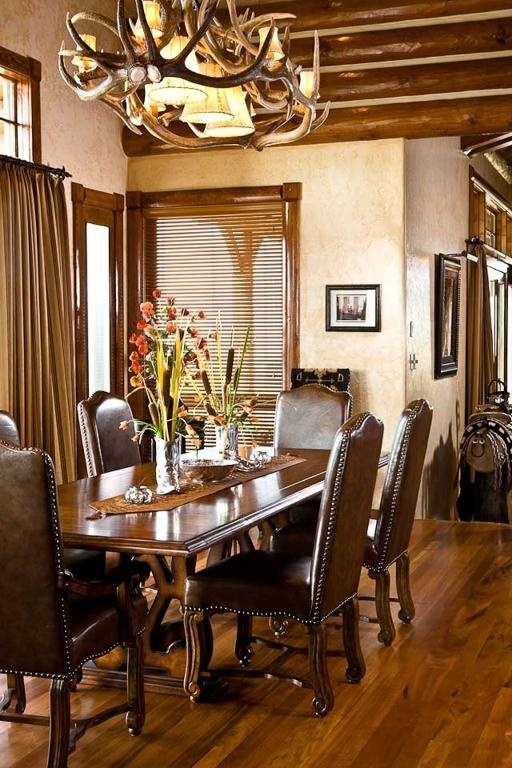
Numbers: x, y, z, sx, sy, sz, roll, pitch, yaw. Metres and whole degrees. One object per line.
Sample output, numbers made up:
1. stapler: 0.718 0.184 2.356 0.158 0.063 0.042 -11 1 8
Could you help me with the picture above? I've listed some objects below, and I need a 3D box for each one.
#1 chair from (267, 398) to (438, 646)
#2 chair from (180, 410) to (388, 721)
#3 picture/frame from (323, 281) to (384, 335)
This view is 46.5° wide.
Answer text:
1. chair: 0.538 0.573 3.221 0.906 1.678 0.860 0 -1 26
2. chair: 0.113 0.587 2.435 0.830 1.469 0.791 1 -2 22
3. picture/frame: 0.842 -0.644 5.010 0.420 0.403 0.030 1 1 21
